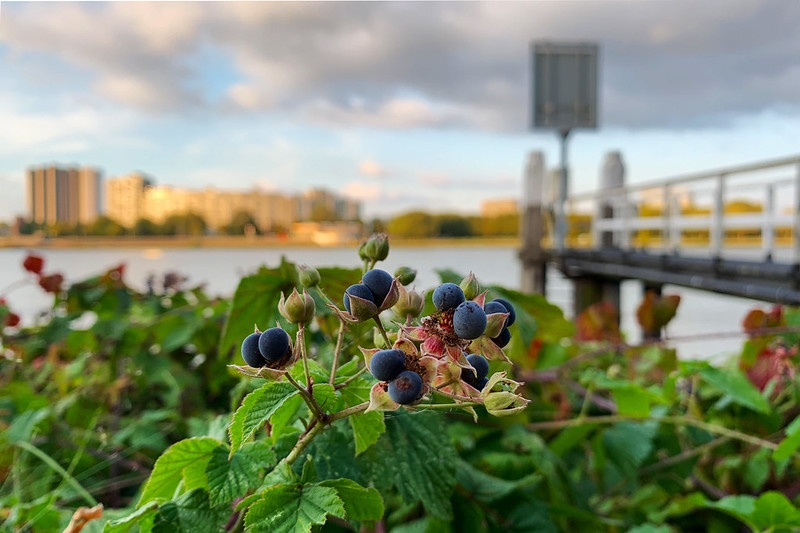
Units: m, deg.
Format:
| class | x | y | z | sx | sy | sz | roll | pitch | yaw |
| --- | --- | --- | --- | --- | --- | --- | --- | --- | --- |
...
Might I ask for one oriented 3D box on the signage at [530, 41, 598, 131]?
| class | x | y | z | sx | sy | sz | roll | pitch | yaw |
| --- | --- | --- | --- | --- | --- | --- | --- | --- | --- |
| signage | 0.411 | -0.447 | 1.840 | 0.162 | 0.231 | 0.310 | 0 | 8 | 13 |
